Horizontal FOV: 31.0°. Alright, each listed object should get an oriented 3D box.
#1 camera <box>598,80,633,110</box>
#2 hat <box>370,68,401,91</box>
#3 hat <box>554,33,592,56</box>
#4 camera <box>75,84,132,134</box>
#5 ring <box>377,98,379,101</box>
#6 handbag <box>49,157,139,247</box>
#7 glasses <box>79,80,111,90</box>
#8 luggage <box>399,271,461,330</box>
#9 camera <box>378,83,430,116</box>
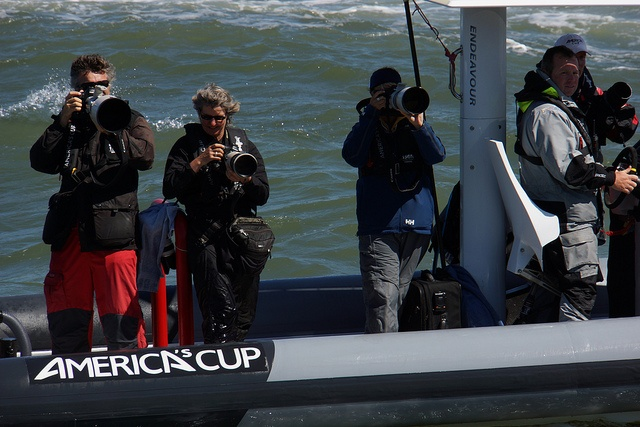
[{"bbox_3d":[2.568,-0.998,10.055,0.254,0.229,0.264,5,-25,-21],"label":"camera"},{"bbox_3d":[0.543,-1.120,9.671,0.242,0.185,0.174,-27,3,7],"label":"hat"},{"bbox_3d":[2.179,-1.457,10.042,0.211,0.151,0.294,-6,10,-33],"label":"hat"},{"bbox_3d":[-1.691,-0.811,9.159,0.290,0.201,0.451,1,19,-24],"label":"camera"},{"bbox_3d":[0.478,-0.926,9.470,0.027,0.024,0.007,1,-1,-7],"label":"ring"},{"bbox_3d":[-1.837,-0.078,9.346,0.754,0.693,0.423,1,-6,3],"label":"handbag"},{"bbox_3d":[-1.813,-1.024,9.274,0.124,0.032,0.119,-5,-7,-28],"label":"glasses"},{"bbox_3d":[0.899,0.736,9.791,0.439,0.680,0.520,1,5,-6],"label":"luggage"},{"bbox_3d":[0.705,-0.918,9.478,0.346,0.269,0.547,0,-2,-13],"label":"camera"}]
